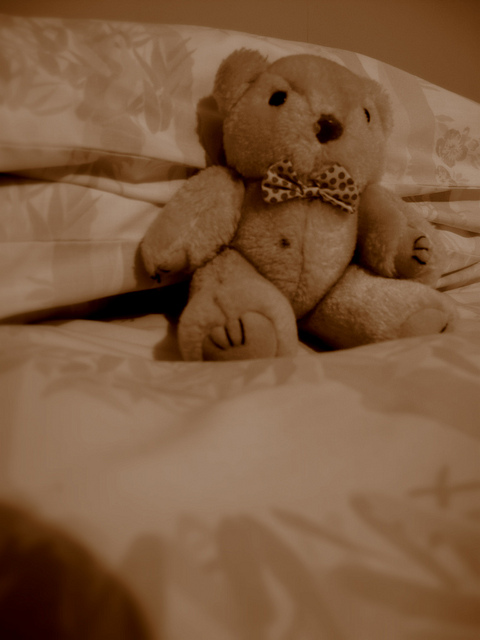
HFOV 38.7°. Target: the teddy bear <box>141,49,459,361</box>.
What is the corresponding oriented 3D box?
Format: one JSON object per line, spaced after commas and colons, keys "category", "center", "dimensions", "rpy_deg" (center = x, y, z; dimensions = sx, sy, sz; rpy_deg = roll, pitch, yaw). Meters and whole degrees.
{"category": "teddy bear", "center": [0.081, -0.135, 0.850], "dimensions": [0.405, 0.347, 0.298], "rpy_deg": [6, 28, -8]}
